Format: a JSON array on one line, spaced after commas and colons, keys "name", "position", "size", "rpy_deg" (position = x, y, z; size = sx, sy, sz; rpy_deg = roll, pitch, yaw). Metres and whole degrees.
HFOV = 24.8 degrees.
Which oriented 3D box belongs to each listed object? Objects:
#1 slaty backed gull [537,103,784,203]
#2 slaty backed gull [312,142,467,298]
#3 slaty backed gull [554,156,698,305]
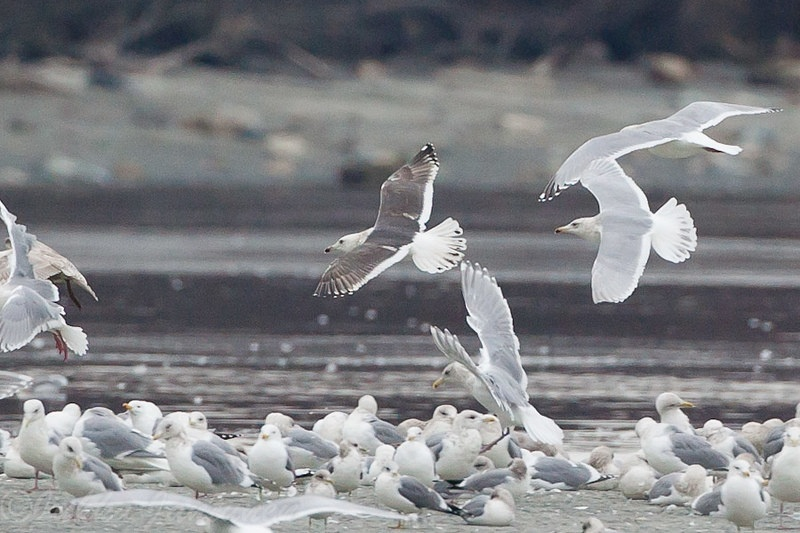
[{"name": "slaty backed gull", "position": [4.100, -1.954, 31.049], "size": [4.187, 0.374, 2.476], "rpy_deg": [-14, 9, -23]}, {"name": "slaty backed gull", "position": [-0.093, -0.967, 34.942], "size": [2.658, 2.705, 2.065], "rpy_deg": [0, 6, -5]}, {"name": "slaty backed gull", "position": [3.938, -0.472, 32.707], "size": [2.495, 2.232, 0.730], "rpy_deg": [21, 46, 2]}]
